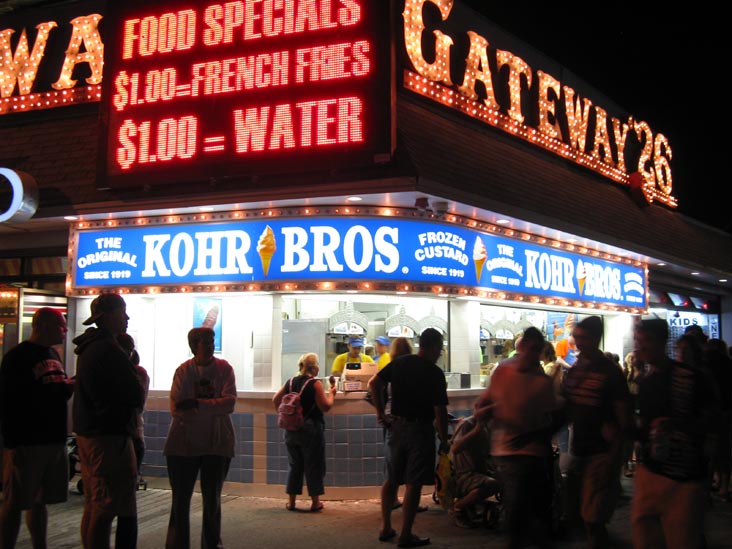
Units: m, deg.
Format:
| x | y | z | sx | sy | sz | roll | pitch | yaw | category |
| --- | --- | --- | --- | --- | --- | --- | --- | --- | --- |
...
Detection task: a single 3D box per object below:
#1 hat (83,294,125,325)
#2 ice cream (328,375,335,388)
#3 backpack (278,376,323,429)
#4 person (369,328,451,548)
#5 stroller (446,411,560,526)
| x | y | z | sx | sy | sz | roll | pitch | yaw | category |
| --- | --- | --- | --- | --- | --- | --- | --- | --- | --- |
| -2.791 | 0.348 | 7.866 | 0.422 | 0.229 | 0.299 | -17 | 3 | -28 | hat |
| -0.553 | 1.704 | 11.474 | 0.126 | 0.225 | 0.129 | 0 | -4 | -10 | ice cream |
| -0.983 | 1.857 | 10.369 | 0.509 | 0.742 | 0.252 | 0 | -3 | -1 | backpack |
| 0.547 | 2.010 | 9.122 | 0.942 | 2.650 | 0.665 | -1 | -3 | 13 | person |
| 1.547 | 2.519 | 9.141 | 1.435 | 1.787 | 0.694 | 5 | -17 | -7 | stroller |
